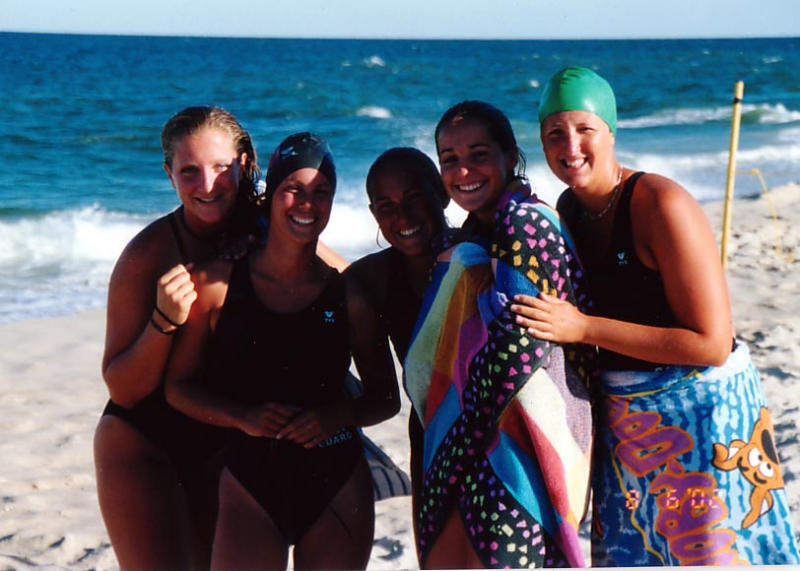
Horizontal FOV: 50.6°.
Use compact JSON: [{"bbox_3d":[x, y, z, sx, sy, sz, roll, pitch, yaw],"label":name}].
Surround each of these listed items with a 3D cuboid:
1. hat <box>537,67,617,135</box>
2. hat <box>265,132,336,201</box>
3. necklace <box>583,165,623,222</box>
[{"bbox_3d":[1.264,-1.238,5.748,0.463,0.430,0.581,-2,-13,28],"label":"hat"},{"bbox_3d":[-0.773,-0.836,6.049,0.402,0.504,0.439,11,22,-19],"label":"hat"},{"bbox_3d":[1.329,-0.598,5.578,0.077,0.287,0.302,28,5,-7],"label":"necklace"}]
